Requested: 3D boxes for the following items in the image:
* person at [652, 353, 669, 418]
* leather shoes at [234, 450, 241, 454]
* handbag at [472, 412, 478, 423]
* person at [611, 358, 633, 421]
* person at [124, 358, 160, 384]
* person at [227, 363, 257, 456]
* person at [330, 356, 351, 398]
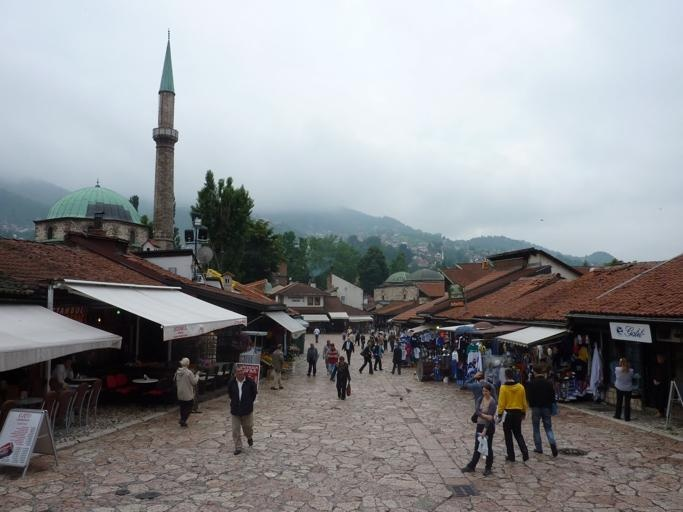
[{"bbox_3d":[9.909,3.989,17.537,0.413,1.927,0.725,1,-2,-7],"label":"person"},{"bbox_3d":[-2.695,5.058,14.546,0.207,0.116,0.179,1,-2,-12],"label":"leather shoes"},{"bbox_3d":[3.219,3.895,13.604,0.091,0.220,0.242,1,-2,-11],"label":"handbag"},{"bbox_3d":[8.731,4.072,17.353,0.501,1.899,1.145,0,-2,26],"label":"person"},{"bbox_3d":[-7.200,4.193,20.425,0.955,0.357,0.949,3,0,-11],"label":"person"},{"bbox_3d":[-2.652,4.063,14.907,0.461,2.133,0.785,-1,-2,32],"label":"person"},{"bbox_3d":[0.056,4.670,21.489,0.524,1.604,1.237,1,-2,0],"label":"person"}]
